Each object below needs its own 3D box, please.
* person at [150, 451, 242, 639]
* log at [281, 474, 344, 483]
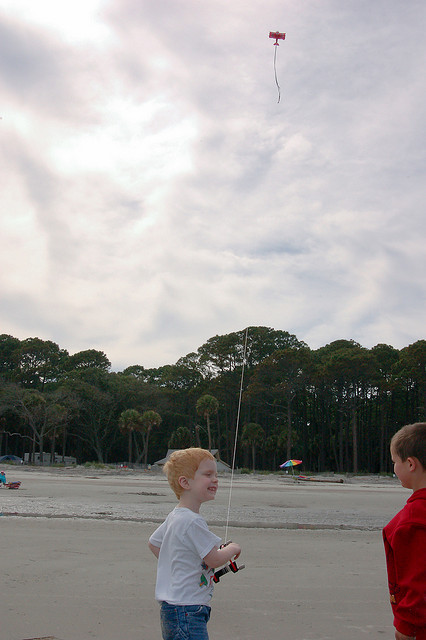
[{"bbox_3d":[-0.109,1.189,3.946,0.495,0.966,0.366,0,-11,4],"label":"person"},{"bbox_3d":[5.979,9.697,44.680,2.813,0.237,6.200,0,-12,2],"label":"log"}]
